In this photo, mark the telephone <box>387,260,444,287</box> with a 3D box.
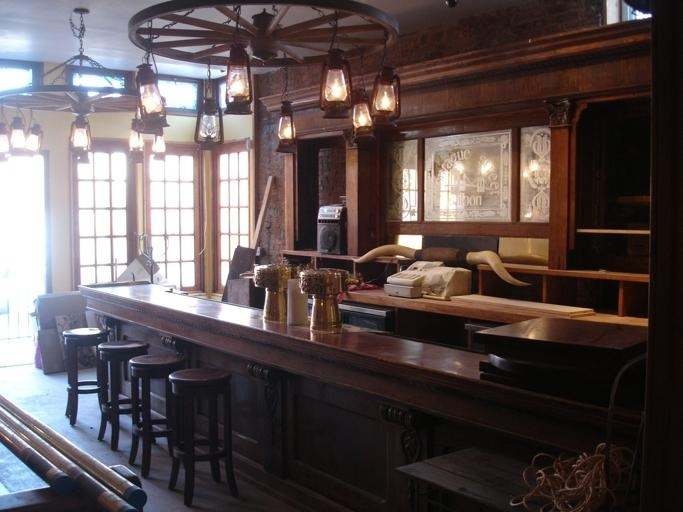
[{"bbox_3d":[0.707,0.153,5.165,0.358,0.139,0.258,-9,7,-39],"label":"telephone"}]

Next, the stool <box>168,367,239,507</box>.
[{"bbox_3d":[-0.983,1.134,3.825,0.462,0.825,0.760,-4,5,-13],"label":"stool"}]
